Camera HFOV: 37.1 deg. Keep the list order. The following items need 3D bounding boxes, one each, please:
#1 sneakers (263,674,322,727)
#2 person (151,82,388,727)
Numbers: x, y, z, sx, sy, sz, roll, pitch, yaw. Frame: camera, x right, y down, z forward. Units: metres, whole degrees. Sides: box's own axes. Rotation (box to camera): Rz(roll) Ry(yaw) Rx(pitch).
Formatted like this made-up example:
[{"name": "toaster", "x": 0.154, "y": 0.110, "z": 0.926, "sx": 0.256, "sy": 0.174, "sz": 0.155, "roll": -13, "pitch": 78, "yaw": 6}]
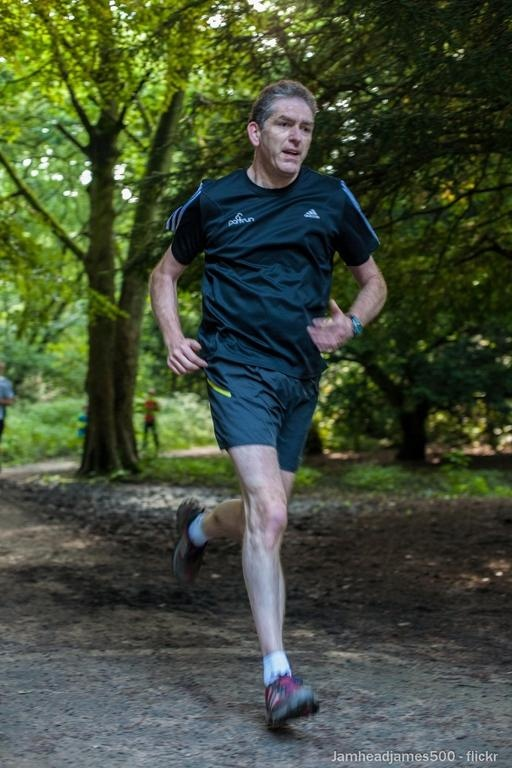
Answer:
[{"name": "sneakers", "x": 0.104, "y": 0.866, "z": 2.083, "sx": 0.099, "sy": 0.090, "sz": 0.188, "roll": 2, "pitch": -25, "yaw": -21}, {"name": "person", "x": -0.027, "y": -0.041, "z": 2.582, "sx": 0.708, "sy": 2.073, "sz": 0.921, "roll": -1, "pitch": -2, "yaw": 22}]
